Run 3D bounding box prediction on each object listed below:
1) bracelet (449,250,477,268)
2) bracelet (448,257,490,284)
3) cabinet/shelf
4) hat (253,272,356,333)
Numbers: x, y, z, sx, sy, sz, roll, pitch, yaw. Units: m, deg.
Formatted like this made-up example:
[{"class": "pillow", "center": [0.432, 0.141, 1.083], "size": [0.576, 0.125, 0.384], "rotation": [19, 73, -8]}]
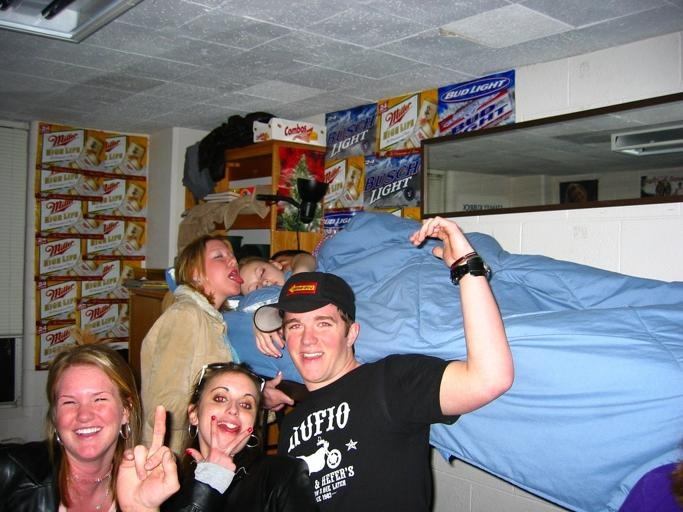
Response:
[{"class": "bracelet", "center": [0.355, 0.006, 1.484], "size": [0.058, 0.025, 0.049], "rotation": [-24, -14, 30]}, {"class": "bracelet", "center": [0.392, 0.034, 1.512], "size": [0.113, 0.063, 0.114], "rotation": [-11, -2, 38]}, {"class": "cabinet/shelf", "center": [-0.736, -0.528, 4.470], "size": [1.339, 1.088, 0.527], "rotation": [-2, -19, 42]}, {"class": "hat", "center": [-0.111, 0.157, 1.850], "size": [0.351, 0.161, 0.231], "rotation": [12, -27, -25]}]
